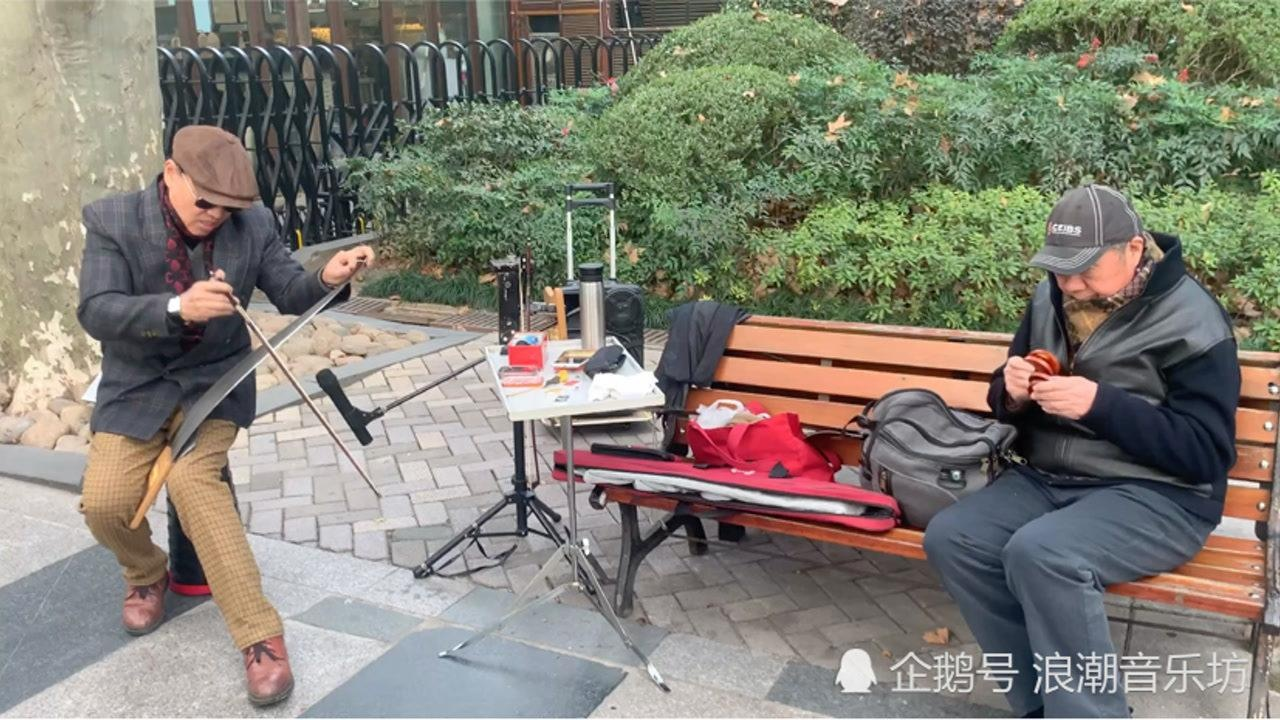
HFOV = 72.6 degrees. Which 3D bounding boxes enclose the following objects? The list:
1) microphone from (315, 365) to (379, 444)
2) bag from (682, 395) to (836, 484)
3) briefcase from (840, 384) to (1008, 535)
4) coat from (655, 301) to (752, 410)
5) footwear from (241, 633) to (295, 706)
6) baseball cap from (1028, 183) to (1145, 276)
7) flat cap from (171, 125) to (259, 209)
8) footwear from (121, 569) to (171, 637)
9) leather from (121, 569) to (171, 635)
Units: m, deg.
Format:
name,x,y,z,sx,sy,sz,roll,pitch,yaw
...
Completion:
name,x,y,z,sx,sy,sz,roll,pitch,yaw
microphone,-2.148,0.350,6.391,0.176,0.625,0.193,-44,26,-20
bag,0.658,0.469,5.141,0.660,0.214,0.507,6,7,12
briefcase,1.670,0.566,4.986,0.838,0.731,0.624,13,39,35
coat,0.439,-0.021,5.848,0.619,0.753,0.455,11,8,41
footwear,-2.001,1.685,4.711,0.236,0.308,0.217,-9,18,-23
baseball cap,2.327,-0.692,4.692,0.642,0.349,0.407,-31,26,-9
flat cap,-2.325,-1.054,4.794,0.426,0.454,0.341,-3,16,-4
footwear,-2.876,1.420,5.082,0.167,0.172,0.425,1,17,-28
leather,-2.884,1.423,5.112,0.165,0.171,0.418,3,17,-29
